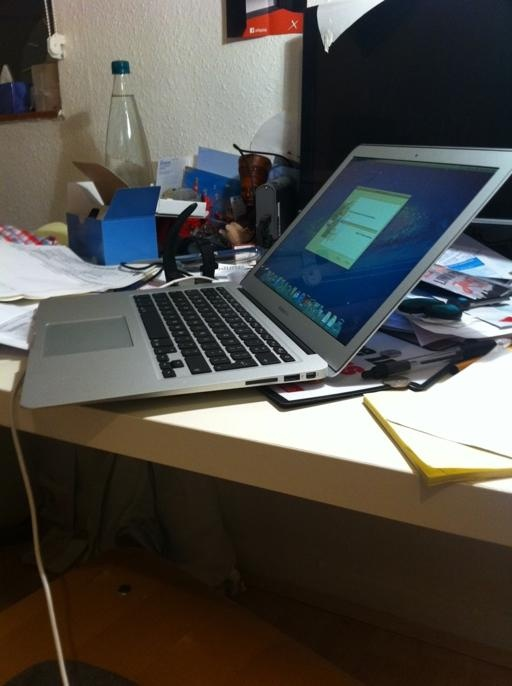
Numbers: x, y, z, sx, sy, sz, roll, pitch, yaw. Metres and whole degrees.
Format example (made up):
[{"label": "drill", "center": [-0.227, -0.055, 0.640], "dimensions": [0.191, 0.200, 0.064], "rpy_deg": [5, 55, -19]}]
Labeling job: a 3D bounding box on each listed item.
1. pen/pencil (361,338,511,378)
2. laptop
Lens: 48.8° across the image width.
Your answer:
[{"label": "pen/pencil", "center": [0.163, 0.014, 0.498], "dimensions": [0.116, 0.017, 0.017], "rpy_deg": [-10, 9, -29]}, {"label": "laptop", "center": [0.017, -0.027, 0.527], "dimensions": [0.390, 0.154, 0.282], "rpy_deg": [-4, 29, -13]}]
